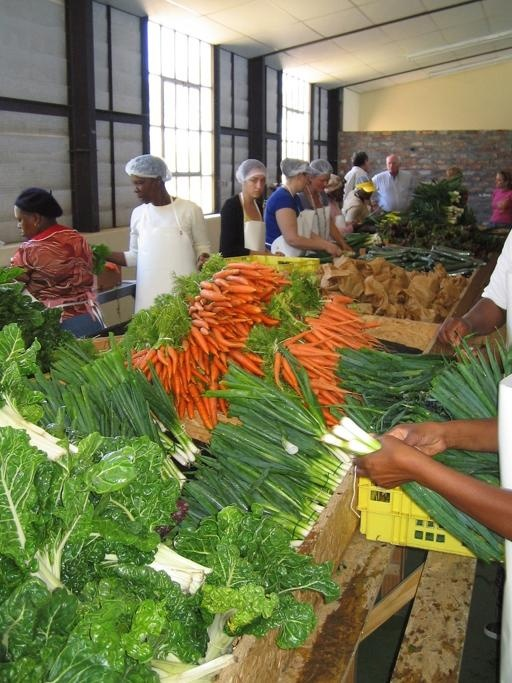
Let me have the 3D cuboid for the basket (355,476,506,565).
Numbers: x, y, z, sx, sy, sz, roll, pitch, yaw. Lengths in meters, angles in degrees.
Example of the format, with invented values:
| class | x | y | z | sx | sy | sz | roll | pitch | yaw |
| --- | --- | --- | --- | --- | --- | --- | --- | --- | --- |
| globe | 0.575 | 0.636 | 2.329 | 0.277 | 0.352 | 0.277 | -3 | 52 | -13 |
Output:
| class | x | y | z | sx | sy | sz | roll | pitch | yaw |
| --- | --- | --- | --- | --- | --- | --- | --- | --- | --- |
| basket | 0.438 | 0.472 | 1.280 | 0.364 | 0.146 | 0.234 | 24 | -1 | 25 |

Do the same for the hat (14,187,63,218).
| class | x | y | z | sx | sy | sz | roll | pitch | yaw |
| --- | --- | --- | --- | --- | --- | --- | --- | --- | --- |
| hat | -1.498 | -0.956 | 3.427 | 0.210 | 0.140 | 0.295 | 20 | 5 | 28 |

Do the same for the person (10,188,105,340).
| class | x | y | z | sx | sy | sz | roll | pitch | yaw |
| --- | --- | --- | --- | --- | --- | --- | --- | --- | --- |
| person | -1.539 | -0.414 | 3.706 | 0.717 | 1.367 | 0.620 | 0 | 30 | -26 |
